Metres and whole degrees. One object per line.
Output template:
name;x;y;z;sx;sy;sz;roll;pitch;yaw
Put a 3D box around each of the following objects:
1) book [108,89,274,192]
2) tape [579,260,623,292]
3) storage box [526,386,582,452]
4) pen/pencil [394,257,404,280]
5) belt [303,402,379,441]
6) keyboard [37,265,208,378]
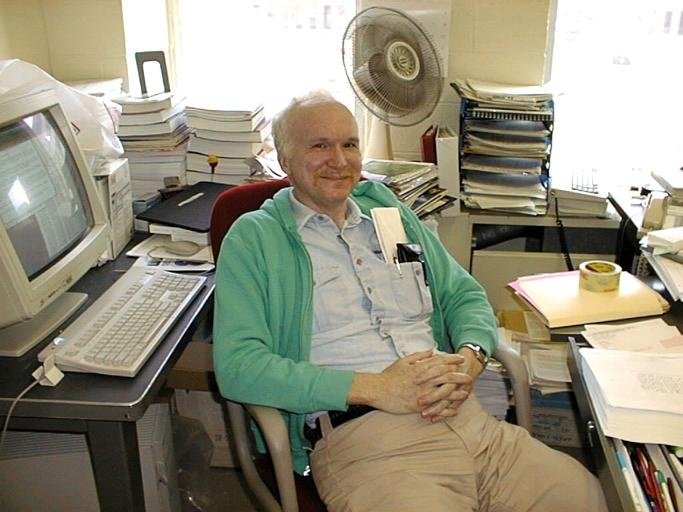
book;-0.648;-0.554;2.228;0.483;0.367;0.557;7;22;22
tape;0.798;0.061;1.470;0.114;0.055;0.101;-2;24;1
storage box;0.962;0.723;2.045;0.150;0.213;0.254;24;-25;-28
pen/pencil;0.177;0.045;1.524;0.020;0.065;0.018;-10;-17;-9
belt;-0.030;0.481;1.407;0.187;0.053;0.186;-29;-5;31
keyboard;-0.646;0.178;1.449;0.274;0.048;0.482;11;26;3
